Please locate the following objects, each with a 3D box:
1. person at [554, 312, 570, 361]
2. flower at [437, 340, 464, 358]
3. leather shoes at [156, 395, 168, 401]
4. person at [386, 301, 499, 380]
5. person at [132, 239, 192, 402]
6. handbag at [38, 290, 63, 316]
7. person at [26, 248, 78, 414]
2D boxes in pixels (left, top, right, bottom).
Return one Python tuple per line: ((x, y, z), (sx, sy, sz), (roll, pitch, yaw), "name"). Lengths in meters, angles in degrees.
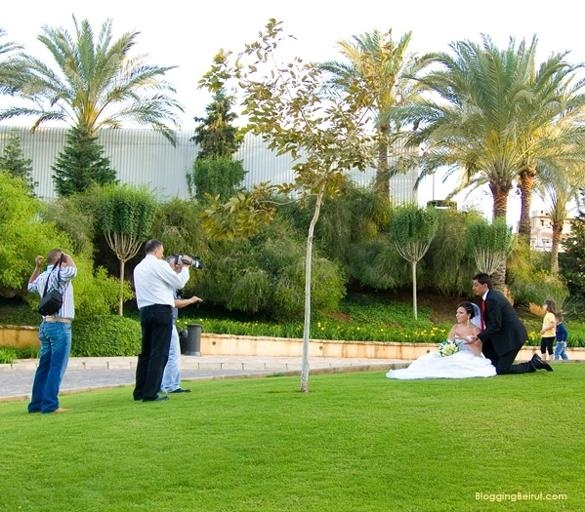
((6.721, 2.015, 23.466), (0.298, 1.226, 1.078), (1, 4, 15), "person")
((3.067, 1.831, 18.242), (0.277, 0.208, 0.322), (-13, 21, 23), "flower")
((-2.252, 2.356, 15.852), (0.180, 0.081, 0.134), (-26, -8, -4), "leather shoes")
((2.945, 1.874, 18.120), (1.460, 1.270, 1.500), (7, -13, -32), "person")
((-2.337, 1.085, 16.110), (0.941, 2.632, 0.774), (-3, 5, -35), "person")
((-4.123, 0.768, 15.765), (0.411, 0.431, 0.269), (-2, 4, -20), "handbag")
((-4.145, 1.219, 15.776), (0.760, 2.637, 0.991), (0, 4, 3), "person")
